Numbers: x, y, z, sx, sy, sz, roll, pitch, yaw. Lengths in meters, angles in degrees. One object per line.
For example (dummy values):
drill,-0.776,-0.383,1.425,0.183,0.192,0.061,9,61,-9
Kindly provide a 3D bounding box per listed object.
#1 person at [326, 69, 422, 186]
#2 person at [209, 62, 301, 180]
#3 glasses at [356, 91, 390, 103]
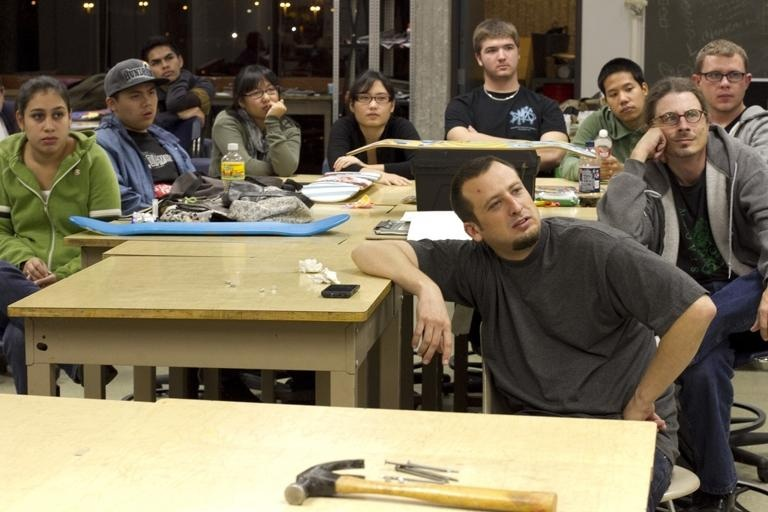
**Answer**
person,-0.066,-0.884,4.762,0.632,0.721,0.840,-2,11,3
person,-0.854,-0.901,4.677,0.589,0.746,0.376,-3,4,-14
glasses,-0.056,-1.040,4.629,0.228,0.074,0.067,-3,4,-11
